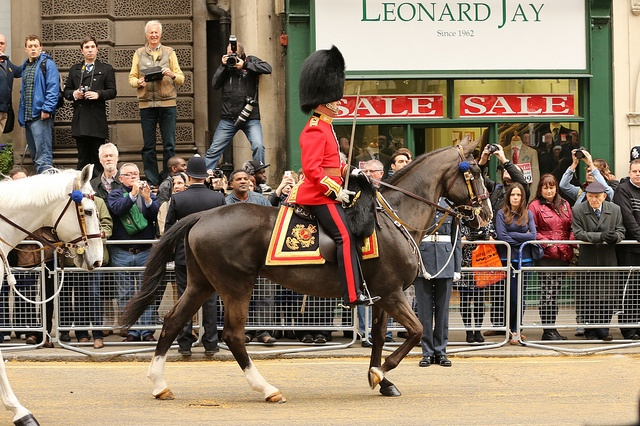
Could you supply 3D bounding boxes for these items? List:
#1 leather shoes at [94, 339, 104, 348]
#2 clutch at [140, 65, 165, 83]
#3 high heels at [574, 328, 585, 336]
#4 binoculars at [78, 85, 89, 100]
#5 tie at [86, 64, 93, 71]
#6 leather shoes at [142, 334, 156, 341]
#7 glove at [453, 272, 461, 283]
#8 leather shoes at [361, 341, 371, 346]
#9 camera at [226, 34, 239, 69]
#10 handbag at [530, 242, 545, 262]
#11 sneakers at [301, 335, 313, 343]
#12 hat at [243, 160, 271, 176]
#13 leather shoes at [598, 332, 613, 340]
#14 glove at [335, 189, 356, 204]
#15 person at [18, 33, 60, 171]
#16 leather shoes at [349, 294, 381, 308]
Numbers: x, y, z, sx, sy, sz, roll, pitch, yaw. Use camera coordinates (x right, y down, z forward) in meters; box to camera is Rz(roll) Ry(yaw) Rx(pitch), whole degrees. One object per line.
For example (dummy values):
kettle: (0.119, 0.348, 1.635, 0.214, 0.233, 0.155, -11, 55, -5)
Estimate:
leather shoes: (-4.182, 2.496, 27.272, 0.184, 0.157, 0.418, 0, -5, -9)
clutch: (-3.451, -2.940, 29.870, 0.451, 0.309, 0.391, -1, 1, -6)
high heels: (5.125, 2.359, 28.271, 0.181, 0.170, 0.483, 0, -5, 11)
binoculars: (-4.849, -2.528, 29.643, 0.105, 0.077, 0.329, -25, 37, -18)
tie: (-4.766, -3.081, 29.838, 0.188, 0.149, 0.054, -1, 1, 6)
leather shoes: (-3.259, 2.413, 27.563, 0.273, 0.091, 0.104, 0, 1, 2)
glove: (2.475, 1.183, 26.294, 0.213, 0.161, 0.164, 1, 6, 22)
leather shoes: (0.903, 2.518, 27.544, 0.150, 0.063, 0.199, 0, -1, 5)
camera: (-1.792, -3.433, 29.825, 0.240, 0.628, 0.566, -1, 1, 0)
handbag: (4.204, 0.719, 27.882, 0.280, 0.387, 0.468, -1, 5, 17)
sneakers: (-0.225, 2.450, 27.687, 0.191, 0.081, 0.239, 1, 1, -3)
hat: (-1.252, -0.910, 28.388, 0.456, 0.178, 0.278, -5, 15, -9)
leather shoes: (5.600, 2.427, 27.895, 0.334, 0.114, 0.099, -5, -2, -21)
glove: (0.448, -0.299, 24.760, 0.348, 0.229, 0.160, -1, 1, 1)
person: (-5.843, -2.385, 30.104, 0.652, 2.814, 0.941, -2, 1, -42)
leather shoes: (0.734, 1.542, 24.854, 0.630, 0.218, 0.205, -10, -7, -2)
